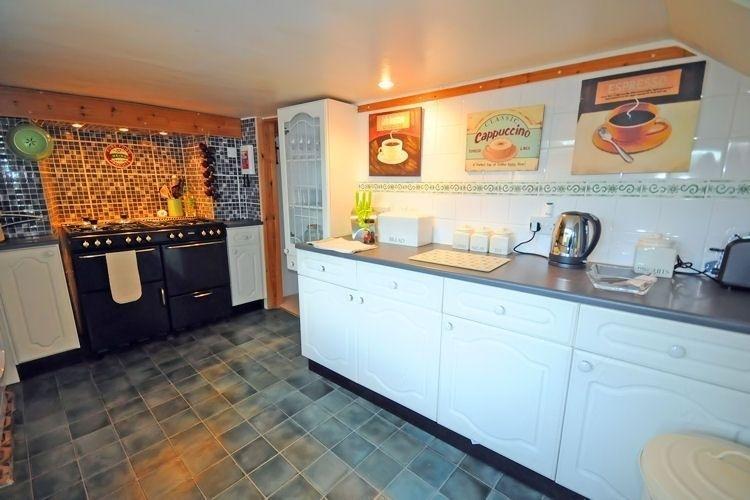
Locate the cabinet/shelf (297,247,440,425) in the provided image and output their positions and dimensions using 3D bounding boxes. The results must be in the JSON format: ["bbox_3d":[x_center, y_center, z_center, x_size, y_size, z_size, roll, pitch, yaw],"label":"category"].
[{"bbox_3d":[-0.021,0.661,3.422,1.264,0.990,0.482,8,12,34],"label":"cabinet/shelf"}]

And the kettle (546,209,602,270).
[{"bbox_3d":[1.382,-0.075,3.099,0.307,0.426,0.405,-11,18,-39],"label":"kettle"}]

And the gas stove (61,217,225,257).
[{"bbox_3d":[-2.226,-0.137,4.356,1.338,0.231,0.398,-6,12,-38],"label":"gas stove"}]

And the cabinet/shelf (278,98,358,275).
[{"bbox_3d":[-0.595,-0.575,4.295,0.778,1.627,0.376,6,12,25],"label":"cabinet/shelf"}]
